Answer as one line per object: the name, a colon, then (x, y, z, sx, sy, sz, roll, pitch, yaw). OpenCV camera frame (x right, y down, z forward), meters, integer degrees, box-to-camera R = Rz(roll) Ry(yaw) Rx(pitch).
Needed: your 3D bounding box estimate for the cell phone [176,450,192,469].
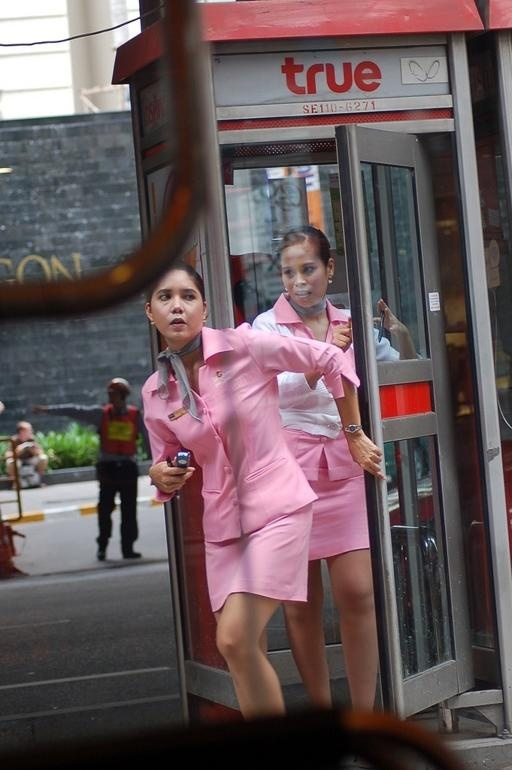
cell phone: (-0.214, 0.215, 2.390, 0.046, 0.056, 0.063, 5, -25, 1)

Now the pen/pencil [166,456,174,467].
pen/pencil: (-0.261, 0.231, 2.415, 0.012, 0.036, 0.015, -1, -1, 1)

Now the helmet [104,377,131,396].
helmet: (-1.708, -0.013, 9.879, 0.247, 0.314, 0.272, -4, 46, 3)

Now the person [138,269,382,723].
person: (0.031, 0.289, 2.404, 0.686, 1.244, 0.355, -6, 1, -10)
